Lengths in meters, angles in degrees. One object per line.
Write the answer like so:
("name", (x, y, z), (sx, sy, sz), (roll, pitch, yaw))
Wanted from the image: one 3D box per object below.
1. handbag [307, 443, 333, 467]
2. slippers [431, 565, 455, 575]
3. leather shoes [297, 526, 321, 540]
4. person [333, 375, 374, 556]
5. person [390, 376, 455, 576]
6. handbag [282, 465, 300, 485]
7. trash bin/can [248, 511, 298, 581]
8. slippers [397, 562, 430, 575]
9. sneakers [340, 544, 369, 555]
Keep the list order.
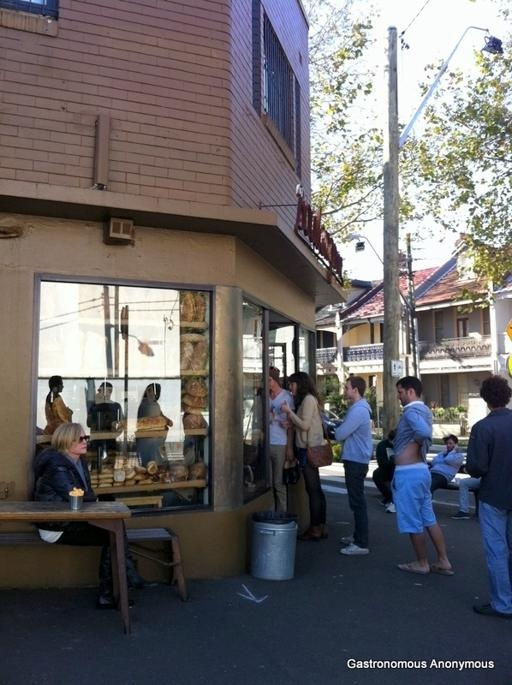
("handbag", (0.712, 1.275, 7.285), (0.273, 0.261, 0.103), (-2, 3, -26))
("slippers", (1.727, 2.114, 5.987), (0.074, 0.099, 0.246), (7, -7, -36))
("leather shoes", (0.597, 2.278, 7.626), (0.329, 0.149, 0.118), (1, -5, 37))
("person", (1.062, 1.299, 6.892), (0.323, 1.890, 0.486), (-7, -7, 39))
("person", (1.542, 1.241, 6.068), (0.496, 1.869, 0.796), (-4, -5, 14))
("handbag", (0.435, 1.529, 7.486), (0.250, 0.204, 0.098), (1, -6, -39))
("trash bin/can", (0.158, 1.844, 5.875), (0.515, 0.529, 0.497), (0, -6, 1))
("slippers", (1.482, 2.088, 6.027), (0.272, 0.108, 0.107), (-1, -8, 42))
("sneakers", (1.042, 2.195, 6.793), (0.297, 0.123, 0.110), (3, -11, -9))
